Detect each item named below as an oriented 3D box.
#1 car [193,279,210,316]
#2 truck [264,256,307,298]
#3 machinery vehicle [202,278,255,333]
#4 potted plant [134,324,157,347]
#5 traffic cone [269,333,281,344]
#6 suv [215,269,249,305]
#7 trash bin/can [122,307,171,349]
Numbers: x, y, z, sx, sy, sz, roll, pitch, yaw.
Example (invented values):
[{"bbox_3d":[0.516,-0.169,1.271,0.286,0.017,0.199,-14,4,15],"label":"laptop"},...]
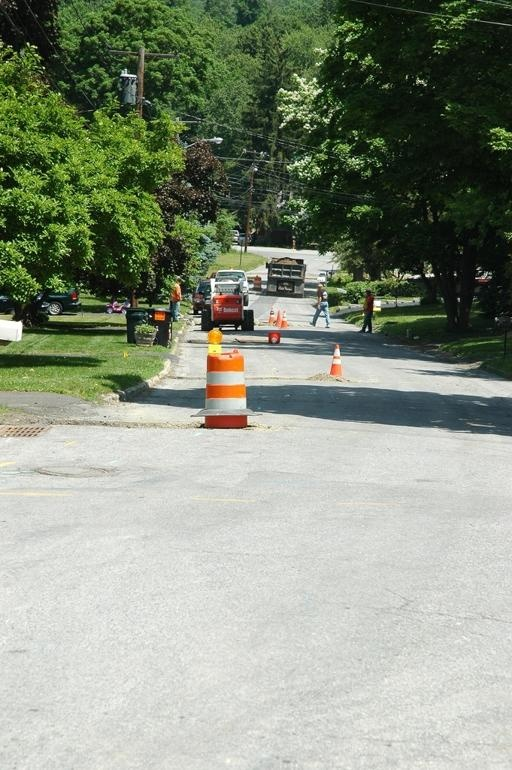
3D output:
[{"bbox_3d":[-3.440,-5.168,51.627,1.495,1.298,3.118,0,18,0],"label":"car"},{"bbox_3d":[2.684,-10.038,78.229,3.196,3.623,2.909,4,3,10],"label":"truck"},{"bbox_3d":[-1.511,-3.877,41.827,2.442,2.292,4.560,-1,5,-4],"label":"machinery vehicle"},{"bbox_3d":[-3.820,-1.664,28.597,0.836,0.594,1.346,1,3,1],"label":"potted plant"},{"bbox_3d":[0.721,-1.883,34.407,0.484,0.442,0.471,-1,5,-4],"label":"traffic cone"},{"bbox_3d":[-1.456,-6.099,49.918,1.649,1.600,3.246,0,0,0],"label":"suv"},{"bbox_3d":[-3.717,-1.973,29.165,1.487,1.328,1.460,2,6,11],"label":"trash bin/can"}]
